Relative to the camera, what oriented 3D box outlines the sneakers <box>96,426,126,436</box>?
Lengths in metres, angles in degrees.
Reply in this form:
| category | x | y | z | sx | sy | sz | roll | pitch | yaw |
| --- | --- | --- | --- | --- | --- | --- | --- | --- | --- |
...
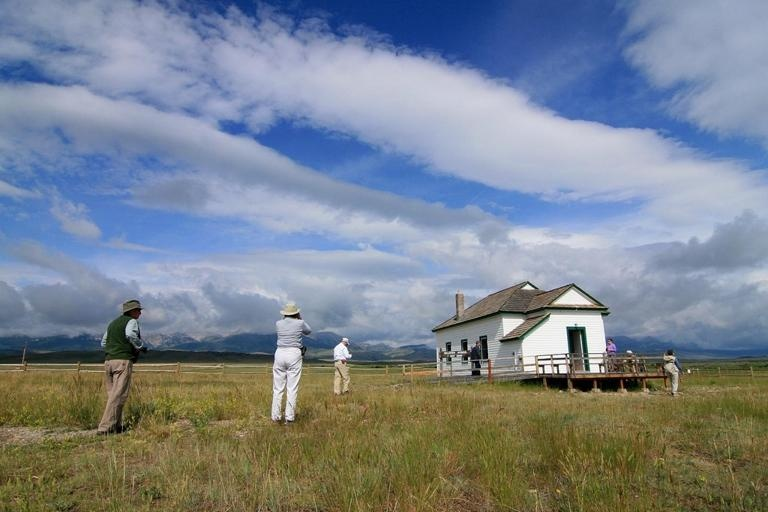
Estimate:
| category | x | y | z | sx | sy | sz | roll | pitch | yaw |
| --- | --- | --- | --- | --- | --- | --- | --- | --- | --- |
| sneakers | -6.237 | 3.996 | 10.739 | 0.409 | 0.186 | 0.300 | 1 | -5 | -2 |

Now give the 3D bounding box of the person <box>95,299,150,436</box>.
| category | x | y | z | sx | sy | sz | roll | pitch | yaw |
| --- | --- | --- | --- | --- | --- | --- | --- | --- | --- |
| person | -6.225 | 2.597 | 11.128 | 0.887 | 3.078 | 1.071 | 12 | -18 | -33 |
